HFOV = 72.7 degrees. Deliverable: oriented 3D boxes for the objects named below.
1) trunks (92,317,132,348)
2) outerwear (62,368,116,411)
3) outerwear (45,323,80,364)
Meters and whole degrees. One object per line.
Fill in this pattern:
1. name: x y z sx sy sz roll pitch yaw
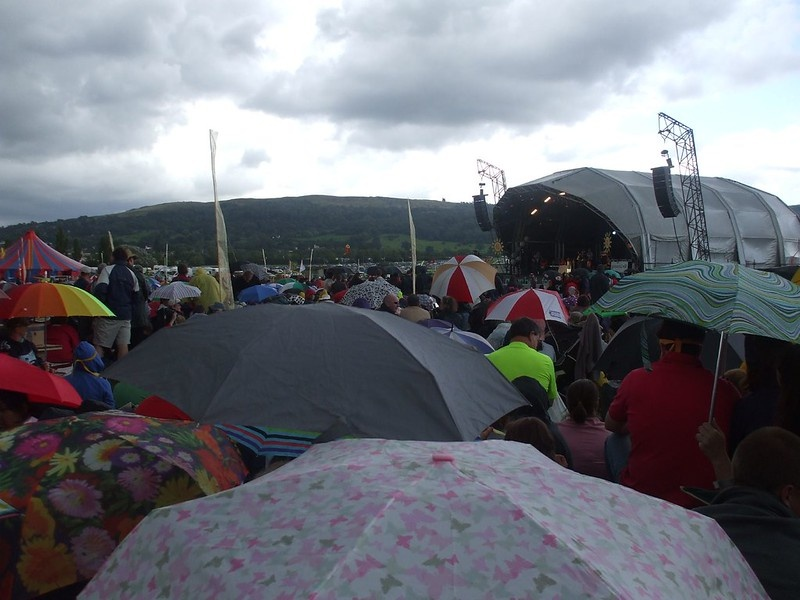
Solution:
1. trunks: -4.597 0.495 8.928 0.388 0.686 0.710 -4 -3 38
2. outerwear: -2.947 0.864 5.220 0.367 0.306 0.198 -8 1 -8
3. outerwear: -5.023 0.631 8.136 0.552 0.590 0.313 -1 6 -23
